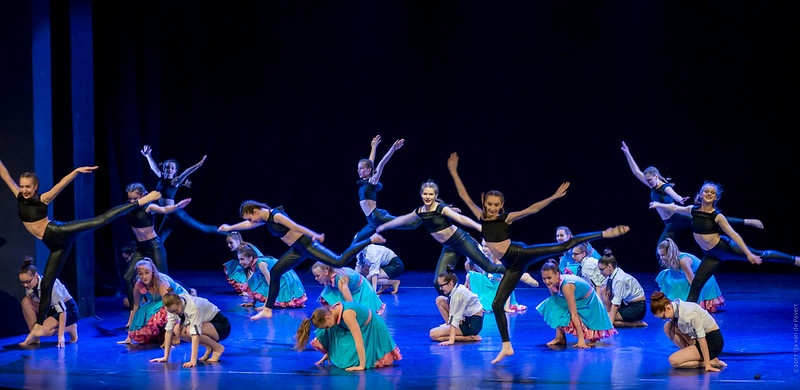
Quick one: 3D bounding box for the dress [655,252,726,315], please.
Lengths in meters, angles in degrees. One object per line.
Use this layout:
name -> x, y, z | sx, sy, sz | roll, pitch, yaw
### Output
dress -> 4.571, 1.371, 10.483 | 1.129, 0.913, 1.011 | 1, -1, 14

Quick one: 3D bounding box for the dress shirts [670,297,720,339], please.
dress shirts -> 3.718, 1.613, 8.319 | 0.560, 0.530, 0.226 | 3, 15, 15

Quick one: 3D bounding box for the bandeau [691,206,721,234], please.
bandeau -> 4.308, 0.332, 9.334 | 0.384, 0.241, 0.222 | 17, 30, 39

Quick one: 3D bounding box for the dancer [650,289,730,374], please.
dancer -> 3.680, 1.753, 8.465 | 0.970, 0.877, 0.689 | 0, -3, 13

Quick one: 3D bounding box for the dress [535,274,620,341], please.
dress -> 2.471, 1.581, 9.357 | 1.143, 0.738, 0.845 | -3, -4, 12

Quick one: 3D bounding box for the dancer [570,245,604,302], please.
dancer -> 2.747, 1.174, 9.675 | 0.368, 0.334, 0.920 | -21, 41, -15

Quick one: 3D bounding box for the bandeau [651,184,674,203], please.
bandeau -> 4.365, -0.028, 10.939 | 0.267, 0.369, 0.401 | -1, -1, -39

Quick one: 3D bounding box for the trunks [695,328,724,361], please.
trunks -> 3.894, 1.895, 8.326 | 0.408, 0.335, 0.274 | -25, -12, 10
